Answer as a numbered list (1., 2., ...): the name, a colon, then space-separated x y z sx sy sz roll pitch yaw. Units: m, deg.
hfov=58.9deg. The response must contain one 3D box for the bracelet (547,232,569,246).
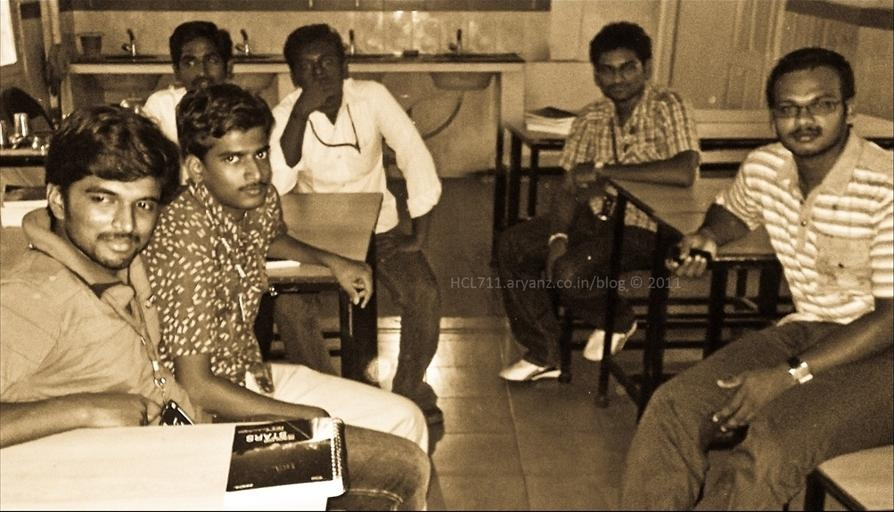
1. bracelet: 0.597 -0.091 4.219 0.099 0.041 0.117 -3 0 5

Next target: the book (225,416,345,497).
1. book: -0.490 0.626 2.461 0.274 0.069 0.233 -1 39 -9

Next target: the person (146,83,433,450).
1. person: -0.668 0.046 3.358 1.268 1.741 1.053 2 47 -8

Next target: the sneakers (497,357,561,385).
1. sneakers: 0.449 0.625 4.293 0.359 0.097 0.127 -1 11 -1

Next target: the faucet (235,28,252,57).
1. faucet: -1.551 -1.633 6.048 0.157 0.094 0.258 -5 43 -7

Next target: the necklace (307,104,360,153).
1. necklace: -0.607 -0.672 4.279 0.271 0.237 0.085 -25 8 1

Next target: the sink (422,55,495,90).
1. sink: 0.106 -1.360 6.103 0.433 0.232 0.128 2 9 2

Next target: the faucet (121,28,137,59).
1. faucet: -2.479 -1.661 6.178 0.117 0.210 0.210 -9 19 -19

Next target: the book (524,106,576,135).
1. book: 0.637 -0.827 4.863 0.290 0.084 0.280 13 27 27

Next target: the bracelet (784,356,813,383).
1. bracelet: 1.293 0.421 2.949 0.089 0.091 0.096 0 1 4

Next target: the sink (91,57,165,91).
1. sink: -2.430 -1.388 6.067 0.519 0.152 0.303 0 28 -2
